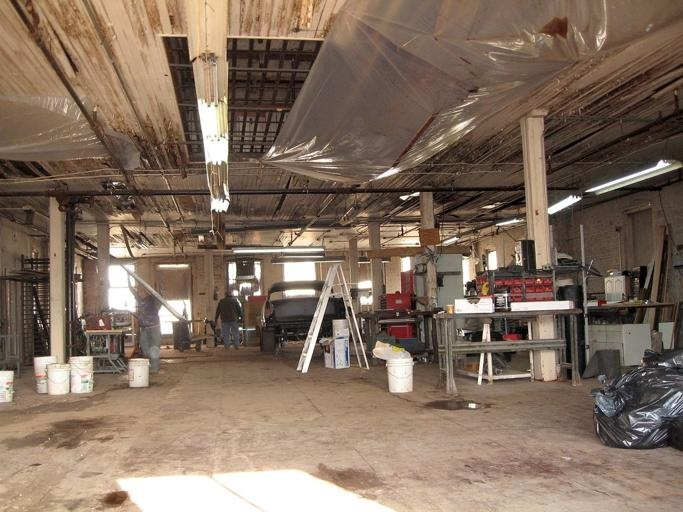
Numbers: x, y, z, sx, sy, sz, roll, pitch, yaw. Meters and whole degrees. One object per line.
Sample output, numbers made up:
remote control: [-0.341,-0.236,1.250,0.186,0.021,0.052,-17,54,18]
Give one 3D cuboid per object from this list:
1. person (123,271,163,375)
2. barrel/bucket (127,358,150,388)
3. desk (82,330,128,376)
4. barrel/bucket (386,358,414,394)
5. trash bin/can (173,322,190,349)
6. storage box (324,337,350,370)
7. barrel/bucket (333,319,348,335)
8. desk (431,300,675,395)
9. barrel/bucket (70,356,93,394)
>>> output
person: [-4.004,1.433,10.772,0.597,1.856,1.428,2,-8,-19]
barrel/bucket: [-3.603,2.046,9.374,0.501,0.484,0.459,-1,-7,0]
desk: [-5.236,2.115,11.816,1.031,1.093,1.514,1,-6,-8]
barrel/bucket: [0.868,1.791,7.963,0.491,0.461,0.453,0,-9,0]
trash bin/can: [-5.475,2.711,18.156,0.578,1.008,0.783,2,-8,-17]
storage box: [-0.103,2.048,11.209,0.388,0.608,0.668,-1,-2,-20]
barrel/bucket: [-0.021,1.492,11.139,0.320,0.362,0.421,0,-8,-4]
desk: [2.735,1.441,8.705,2.893,1.349,1.591,1,-8,-13]
barrel/bucket: [-4.314,1.954,8.776,0.345,0.578,0.353,-1,-8,0]
